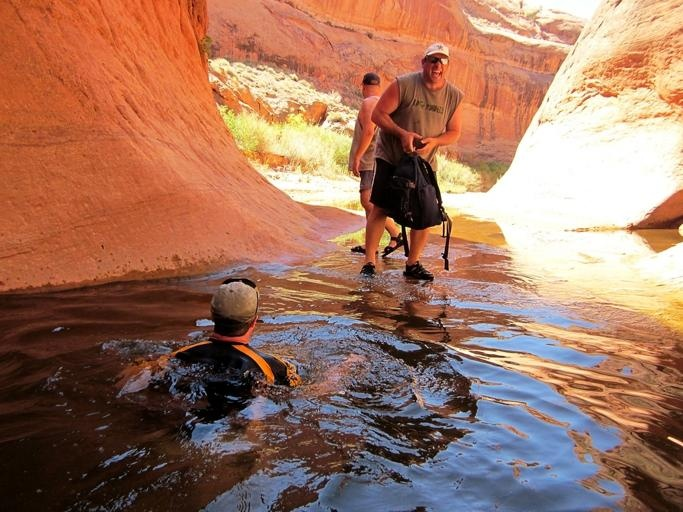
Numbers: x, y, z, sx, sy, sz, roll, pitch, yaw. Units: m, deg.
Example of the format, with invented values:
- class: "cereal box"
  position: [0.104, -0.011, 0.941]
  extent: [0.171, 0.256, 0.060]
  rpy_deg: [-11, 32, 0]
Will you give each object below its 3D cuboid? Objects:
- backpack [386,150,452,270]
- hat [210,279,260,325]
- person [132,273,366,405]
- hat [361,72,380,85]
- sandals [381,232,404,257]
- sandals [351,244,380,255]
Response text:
- class: "backpack"
  position: [0.764, -0.569, 4.826]
  extent: [0.650, 0.715, 0.291]
  rpy_deg: [13, 23, 1]
- class: "hat"
  position: [-0.494, 0.210, 2.489]
  extent: [0.218, 0.114, 0.221]
  rpy_deg: [4, 44, 2]
- class: "person"
  position: [-0.534, 0.441, 2.592]
  extent: [1.524, 0.568, 0.545]
  rpy_deg: [-2, -1, 21]
- class: "hat"
  position: [0.358, -2.091, 6.125]
  extent: [0.209, 0.117, 0.210]
  rpy_deg: [-1, 42, -6]
- class: "sandals"
  position: [0.606, -0.113, 6.121]
  extent: [0.103, 0.378, 0.139]
  rpy_deg: [42, 21, -22]
- class: "sandals"
  position: [0.270, -0.066, 6.089]
  extent: [0.338, 0.069, 0.106]
  rpy_deg: [5, 5, 18]
